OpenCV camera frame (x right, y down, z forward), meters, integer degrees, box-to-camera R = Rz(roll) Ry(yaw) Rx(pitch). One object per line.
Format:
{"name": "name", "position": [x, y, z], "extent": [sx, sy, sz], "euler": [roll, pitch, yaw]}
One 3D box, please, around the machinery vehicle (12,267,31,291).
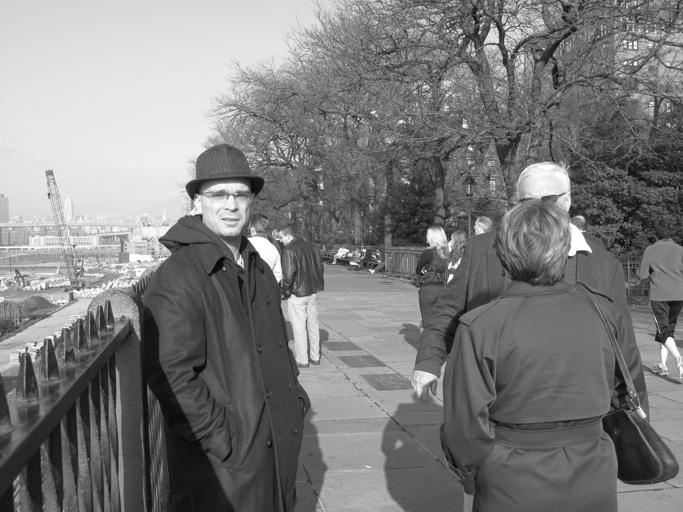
{"name": "machinery vehicle", "position": [-45.732, 3.287, 92.583], "extent": [2.035, 4.528, 2.583], "euler": [-4, -7, -17]}
